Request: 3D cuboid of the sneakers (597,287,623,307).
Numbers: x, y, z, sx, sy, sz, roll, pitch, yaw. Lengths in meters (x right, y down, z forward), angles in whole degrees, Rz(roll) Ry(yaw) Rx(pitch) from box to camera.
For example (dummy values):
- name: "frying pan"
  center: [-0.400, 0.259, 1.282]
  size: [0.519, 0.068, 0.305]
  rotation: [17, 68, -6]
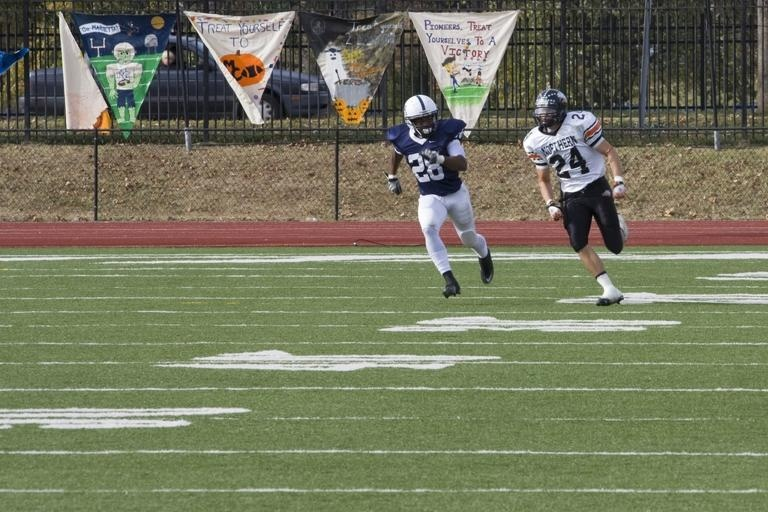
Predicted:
- name: "sneakers"
  center: [3.055, 0.595, 27.855]
  size: [0.474, 0.200, 0.165]
  rotation: [-5, 6, -33]

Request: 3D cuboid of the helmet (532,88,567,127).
- name: "helmet"
  center: [2.366, -2.046, 27.886]
  size: [0.546, 0.424, 0.395]
  rotation: [-24, 22, -36]

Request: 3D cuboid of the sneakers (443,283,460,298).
- name: "sneakers"
  center: [0.890, 0.511, 27.892]
  size: [0.167, 0.100, 0.211]
  rotation: [32, -34, -21]

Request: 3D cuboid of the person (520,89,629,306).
- name: "person"
  center: [2.649, -0.758, 27.876]
  size: [1.265, 2.979, 0.793]
  rotation: [-2, 6, 6]

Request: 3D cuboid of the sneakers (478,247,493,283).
- name: "sneakers"
  center: [1.414, 0.152, 28.957]
  size: [0.178, 0.489, 0.222]
  rotation: [0, 12, 24]

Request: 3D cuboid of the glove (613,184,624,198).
- name: "glove"
  center: [3.184, -0.847, 27.422]
  size: [0.179, 0.133, 0.168]
  rotation: [1, -3, -24]

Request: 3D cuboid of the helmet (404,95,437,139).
- name: "helmet"
  center: [0.469, -1.988, 28.254]
  size: [0.483, 0.465, 0.580]
  rotation: [-20, 36, -4]

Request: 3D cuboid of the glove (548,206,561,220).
- name: "glove"
  center: [2.342, -0.561, 27.791]
  size: [0.198, 0.160, 0.231]
  rotation: [5, 4, 2]

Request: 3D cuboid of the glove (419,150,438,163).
- name: "glove"
  center: [0.621, -1.345, 27.977]
  size: [0.234, 0.193, 0.177]
  rotation: [-1, 7, 6]
